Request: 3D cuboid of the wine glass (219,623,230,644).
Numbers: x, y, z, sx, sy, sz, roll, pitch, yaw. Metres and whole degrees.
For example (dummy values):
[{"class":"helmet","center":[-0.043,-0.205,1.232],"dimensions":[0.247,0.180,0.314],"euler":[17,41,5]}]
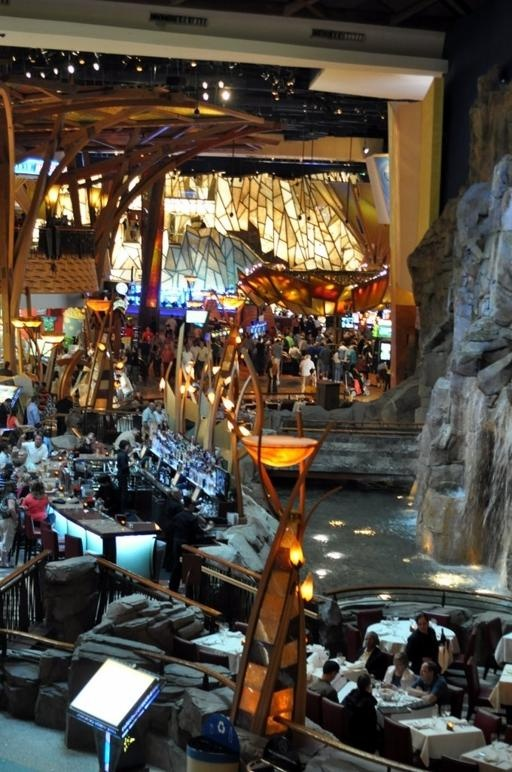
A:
[{"class":"wine glass","center":[-0.261,2.055,4.744],"dimensions":[0.101,0.164,0.102],"euler":[2,2,-37]}]
